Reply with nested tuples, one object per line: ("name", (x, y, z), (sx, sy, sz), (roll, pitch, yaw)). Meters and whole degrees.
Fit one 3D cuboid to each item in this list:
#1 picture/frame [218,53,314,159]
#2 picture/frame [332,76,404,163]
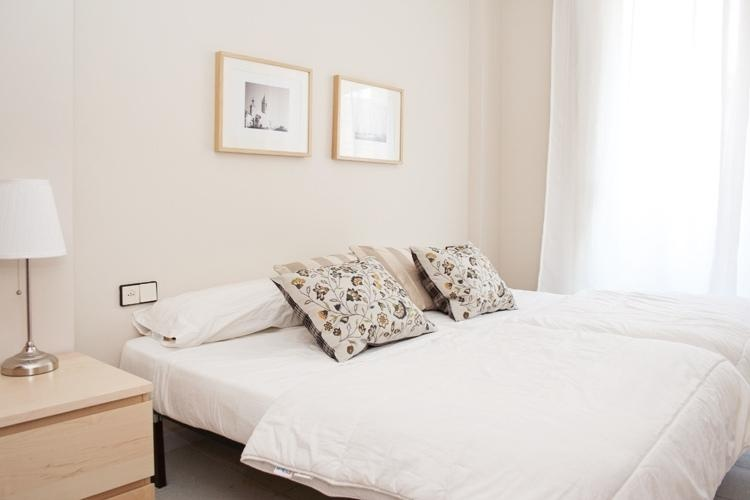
("picture/frame", (-0.682, -0.874, 3.009), (0.734, 0.610, 0.059), (-1, 3, -41))
("picture/frame", (-0.029, -0.913, 3.593), (0.057, 0.568, 0.680), (-19, 28, -41))
